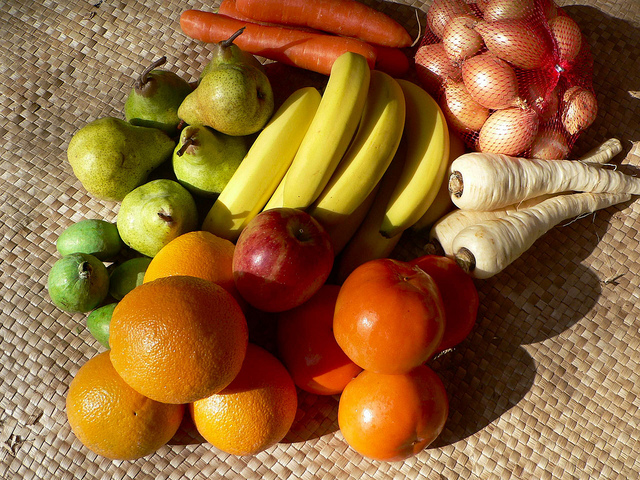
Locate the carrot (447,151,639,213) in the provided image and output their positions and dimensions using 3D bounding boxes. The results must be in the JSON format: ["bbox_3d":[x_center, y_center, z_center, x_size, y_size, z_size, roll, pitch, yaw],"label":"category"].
[{"bbox_3d":[0.524,-0.125,1.560,0.595,0.169,0.187,0,82,-7],"label":"carrot"}]

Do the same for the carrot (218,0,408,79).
[{"bbox_3d":[-0.030,-0.506,1.528,0.435,0.104,0.096,20,21,-2],"label":"carrot"}]

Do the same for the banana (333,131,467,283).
[{"bbox_3d":[0.176,-0.073,1.536,0.114,0.235,0.454,26,90,31],"label":"banana"}]

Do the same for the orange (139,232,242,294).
[{"bbox_3d":[-0.277,0.040,1.305,0.173,0.145,0.133,-24,44,-32],"label":"orange"}]

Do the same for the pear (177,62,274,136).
[{"bbox_3d":[-0.225,-0.324,1.413,0.210,0.179,0.167,-7,42,-3],"label":"pear"}]

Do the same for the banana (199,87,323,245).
[{"bbox_3d":[-0.133,-0.167,1.378,0.074,0.108,0.347,25,95,9],"label":"banana"}]

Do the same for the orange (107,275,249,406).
[{"bbox_3d":[-0.284,0.187,1.206,0.260,0.257,0.238,-10,44,-21],"label":"orange"}]

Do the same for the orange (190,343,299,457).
[{"bbox_3d":[-0.145,0.355,1.395,0.196,0.222,0.244,-14,52,29],"label":"orange"}]

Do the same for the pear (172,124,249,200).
[{"bbox_3d":[-0.254,-0.181,1.433,0.141,0.210,0.164,-14,93,12],"label":"pear"}]

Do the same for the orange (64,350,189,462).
[{"bbox_3d":[-0.384,0.392,1.347,0.185,0.240,0.229,-2,29,10],"label":"orange"}]

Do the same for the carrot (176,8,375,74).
[{"bbox_3d":[-0.101,-0.504,1.528,0.432,0.097,0.078,16,37,-8],"label":"carrot"}]

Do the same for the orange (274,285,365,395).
[{"bbox_3d":[-0.003,0.260,1.424,0.220,0.195,0.124,38,103,43],"label":"orange"}]

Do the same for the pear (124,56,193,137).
[{"bbox_3d":[-0.361,-0.341,1.499,0.108,0.121,0.176,10,86,2],"label":"pear"}]

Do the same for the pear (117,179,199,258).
[{"bbox_3d":[-0.358,-0.065,1.435,0.159,0.166,0.172,38,90,-13],"label":"pear"}]

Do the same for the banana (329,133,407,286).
[{"bbox_3d":[0.105,-0.069,1.402,0.064,0.109,0.348,21,85,-5],"label":"banana"}]
